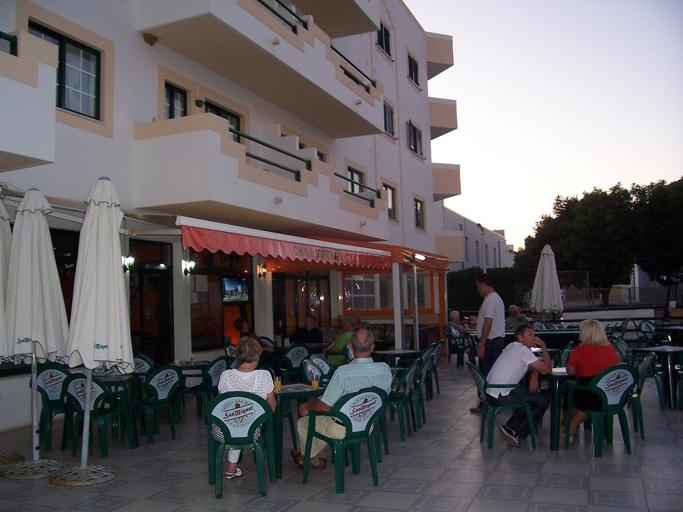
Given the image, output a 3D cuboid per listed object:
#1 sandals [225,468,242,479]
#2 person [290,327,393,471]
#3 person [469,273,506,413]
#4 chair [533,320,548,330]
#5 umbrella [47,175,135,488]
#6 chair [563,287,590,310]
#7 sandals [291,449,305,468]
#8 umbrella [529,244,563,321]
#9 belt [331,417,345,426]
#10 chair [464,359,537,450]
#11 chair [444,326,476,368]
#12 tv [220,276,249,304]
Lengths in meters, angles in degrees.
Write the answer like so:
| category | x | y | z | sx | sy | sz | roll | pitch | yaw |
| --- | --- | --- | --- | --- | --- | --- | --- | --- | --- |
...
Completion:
| category | x | y | z | sx | sy | sz | roll | pitch | yaw |
| --- | --- | --- | --- | --- | --- | --- | --- | --- | --- |
| sandals | -1.457 | 2.975 | 7.858 | 0.108 | 0.085 | 0.191 | 2 | 2 | 34 |
| person | -0.071 | 2.032 | 8.033 | 0.985 | 2.205 | 1.354 | 2 | 5 | -39 |
| person | 2.945 | 1.742 | 11.527 | 0.600 | 2.742 | 0.837 | 3 | 3 | 32 |
| chair | 6.193 | 2.171 | 17.810 | 0.305 | 0.162 | 0.511 | 5 | 4 | 20 |
| umbrella | -3.390 | 0.993 | 7.900 | 0.959 | 4.171 | 0.647 | -1 | 2 | 5 |
| chair | 11.544 | 1.996 | 28.017 | 1.500 | 0.814 | 1.492 | -2 | 2 | -6 |
| sandals | -0.625 | 2.871 | 8.180 | 0.127 | 0.109 | 0.293 | 5 | 34 | -25 |
| umbrella | 6.307 | 0.748 | 17.589 | 0.892 | 2.138 | 1.327 | -1 | 2 | 20 |
| belt | -0.042 | 2.154 | 7.469 | 0.135 | 0.033 | 0.129 | 43 | -10 | -26 |
| chair | 2.557 | 2.376 | 9.097 | 0.901 | 1.263 | 0.708 | -2 | 2 | -4 |
| chair | 3.696 | 2.796 | 17.645 | 1.116 | 1.606 | 0.915 | -1 | -1 | -5 |
| tv | -2.977 | 0.966 | 16.269 | 0.204 | 0.752 | 1.042 | 0 | 3 | 22 |
